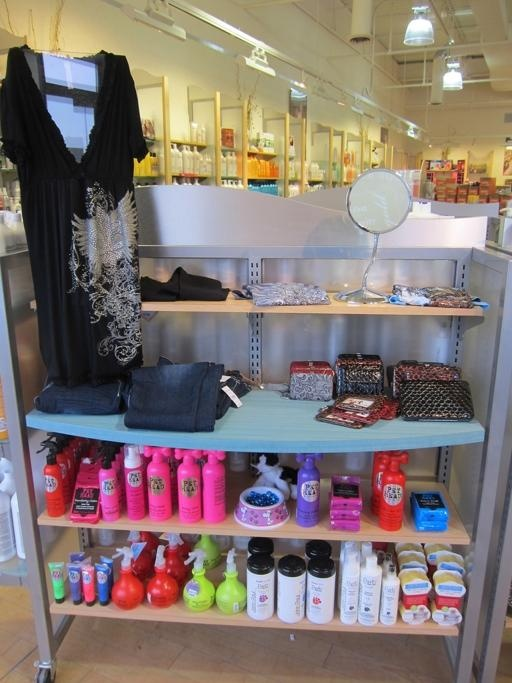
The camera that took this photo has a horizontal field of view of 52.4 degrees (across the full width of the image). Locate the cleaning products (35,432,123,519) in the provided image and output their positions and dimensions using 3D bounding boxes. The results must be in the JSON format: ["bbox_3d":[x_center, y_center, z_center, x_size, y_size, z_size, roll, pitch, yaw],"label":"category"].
[{"bbox_3d":[-0.613,0.491,1.915,0.239,0.361,0.240,5,16,15],"label":"cleaning products"}]

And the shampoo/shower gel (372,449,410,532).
[{"bbox_3d":[0.452,0.508,1.805,0.110,0.268,0.113,4,14,7],"label":"shampoo/shower gel"}]

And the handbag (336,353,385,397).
[{"bbox_3d":[0.382,0.125,1.955,0.183,0.164,0.148,0,-5,13],"label":"handbag"}]

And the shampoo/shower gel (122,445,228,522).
[{"bbox_3d":[-0.299,0.487,1.875,0.384,0.275,0.261,0,7,-4],"label":"shampoo/shower gel"}]

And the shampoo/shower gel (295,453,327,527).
[{"bbox_3d":[0.187,0.504,1.812,0.098,0.281,0.071,-1,5,-7],"label":"shampoo/shower gel"}]
